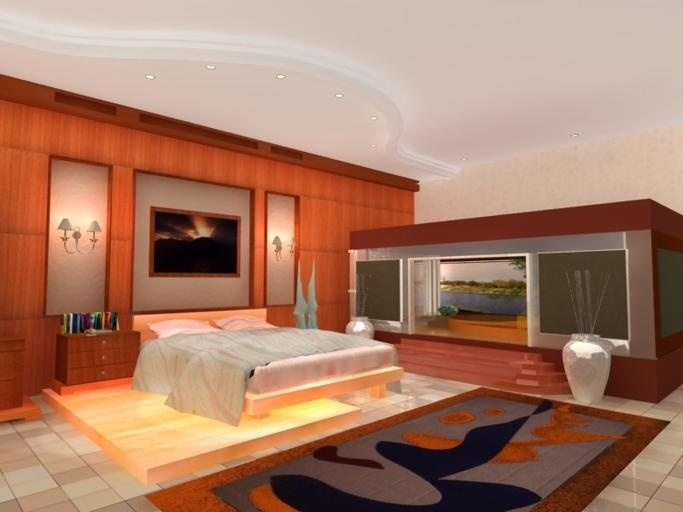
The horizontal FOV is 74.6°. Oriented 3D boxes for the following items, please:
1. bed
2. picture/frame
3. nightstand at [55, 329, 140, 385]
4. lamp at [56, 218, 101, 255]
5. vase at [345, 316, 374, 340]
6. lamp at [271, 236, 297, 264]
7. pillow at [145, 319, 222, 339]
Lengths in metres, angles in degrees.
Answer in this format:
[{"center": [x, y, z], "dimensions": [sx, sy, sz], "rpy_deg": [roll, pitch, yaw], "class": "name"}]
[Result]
[{"center": [-1.228, 1.172, 4.806], "dimensions": [1.555, 0.434, 1.621], "rpy_deg": [-2, -3, 43], "class": "bed"}, {"center": [-2.255, -0.214, 6.663], "dimensions": [1.561, 0.866, 0.064], "rpy_deg": [1, -4, -36], "class": "picture/frame"}, {"center": [-2.956, 1.130, 5.536], "dimensions": [1.218, 0.614, 0.676], "rpy_deg": [1, -4, -41], "class": "nightstand"}, {"center": [-3.404, -0.259, 5.724], "dimensions": [0.628, 0.428, 0.284], "rpy_deg": [2, -5, -43], "class": "lamp"}, {"center": [0.305, 1.137, 7.169], "dimensions": [0.476, 0.269, 0.403], "rpy_deg": [0, 0, -18], "class": "vase"}, {"center": [-0.963, -0.130, 7.576], "dimensions": [0.440, 0.430, 0.125], "rpy_deg": [-3, 6, -35], "class": "lamp"}, {"center": [-2.116, 0.921, 5.814], "dimensions": [0.423, 0.085, 0.390], "rpy_deg": [7, 1, 18], "class": "pillow"}]
